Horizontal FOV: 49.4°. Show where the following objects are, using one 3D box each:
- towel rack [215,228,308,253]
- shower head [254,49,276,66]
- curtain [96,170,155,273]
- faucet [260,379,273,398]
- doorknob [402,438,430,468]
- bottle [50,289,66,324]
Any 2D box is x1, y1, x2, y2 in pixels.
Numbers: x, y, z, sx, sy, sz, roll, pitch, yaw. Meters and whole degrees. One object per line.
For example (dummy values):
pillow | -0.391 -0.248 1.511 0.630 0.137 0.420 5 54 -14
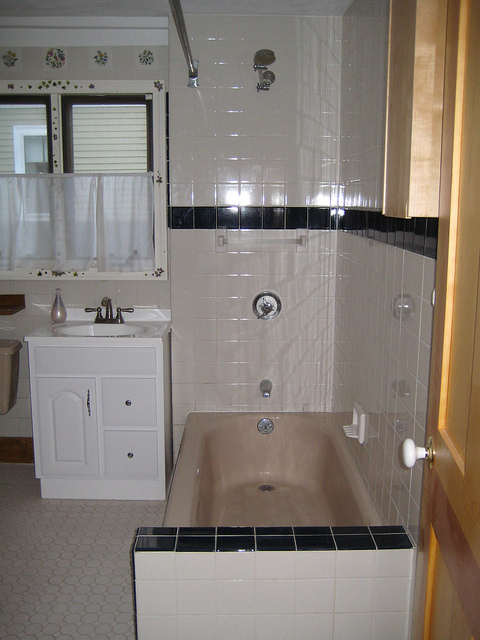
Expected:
towel rack | 0.156 -0.482 3.152 0.655 0.215 0.111 1 6 1
shower head | 0.129 -1.318 2.588 0.076 0.037 0.090 5 -22 -12
curtain | -0.781 -0.620 3.286 0.349 0.652 0.053 4 14 3
faucet | 0.169 0.409 3.114 0.053 0.117 0.096 -1 8 5
doorknob | 0.381 0.255 1.059 0.056 0.074 0.058 0 9 0
bottle | -1.241 -0.086 3.220 0.091 0.194 0.177 -5 8 -23
